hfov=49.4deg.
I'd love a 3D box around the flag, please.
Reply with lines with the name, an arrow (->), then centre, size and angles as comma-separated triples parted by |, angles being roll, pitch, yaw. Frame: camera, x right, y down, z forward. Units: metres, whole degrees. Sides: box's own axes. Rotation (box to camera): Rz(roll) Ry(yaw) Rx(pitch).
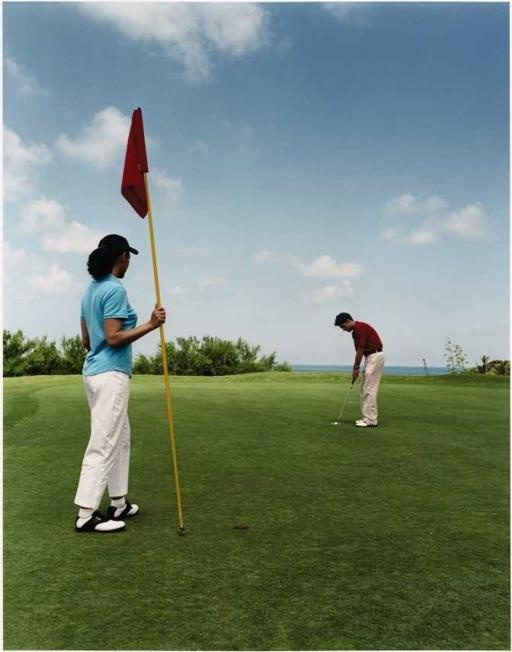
flag -> -0.948, -1.321, 4.374 | 0.197, 1.007, 0.880 | 1, -2, -13

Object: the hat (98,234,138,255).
hat -> -1.041, -0.606, 4.173 | 0.170, 0.127, 0.245 | 12, 18, 43

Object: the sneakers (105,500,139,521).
sneakers -> -0.965, 1.307, 3.982 | 0.095, 0.106, 0.259 | 1, -1, 28

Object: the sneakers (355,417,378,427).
sneakers -> 1.643, 1.441, 8.348 | 0.358, 0.134, 0.119 | 15, -21, -36

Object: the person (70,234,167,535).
person -> -1.025, 0.350, 4.073 | 0.537, 2.090, 0.835 | 1, -2, -17

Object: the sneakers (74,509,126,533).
sneakers -> -1.031, 1.283, 3.662 | 0.327, 0.132, 0.131 | -2, -13, 3
